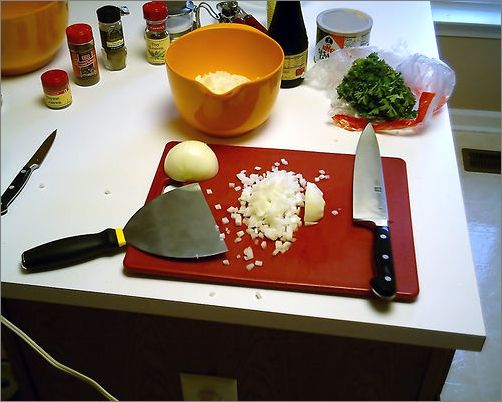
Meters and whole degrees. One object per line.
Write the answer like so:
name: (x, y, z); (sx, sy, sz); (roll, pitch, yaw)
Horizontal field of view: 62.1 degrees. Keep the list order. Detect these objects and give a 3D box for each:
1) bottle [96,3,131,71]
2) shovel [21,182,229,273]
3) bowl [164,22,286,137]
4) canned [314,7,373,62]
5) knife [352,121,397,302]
bottle: (-0.387, -0.458, 1.144); (0.074, 0.152, 0.119); (-12, 42, -14)
shovel: (-0.223, 0.068, 0.752); (0.288, 0.044, 0.168); (-14, 54, -11)
bowl: (-0.058, -0.275, 0.983); (0.270, 0.179, 0.273); (0, 42, 0)
canned: (0.240, -0.460, 1.113); (0.132, 0.111, 0.146); (2, 47, 4)
knife: (0.239, 0.006, 0.802); (0.055, 0.020, 0.362); (2, 47, 5)
